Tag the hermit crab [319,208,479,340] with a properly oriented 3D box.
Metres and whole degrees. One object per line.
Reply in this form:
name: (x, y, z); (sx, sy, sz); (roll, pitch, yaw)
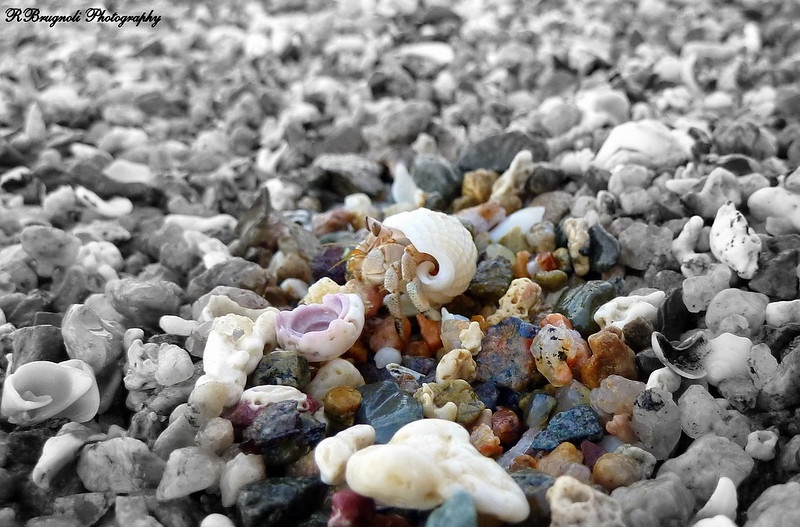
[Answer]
hermit crab: (0.049, -0.053, 4.216); (0.648, 0.479, 0.413); (-9, -68, 1)
